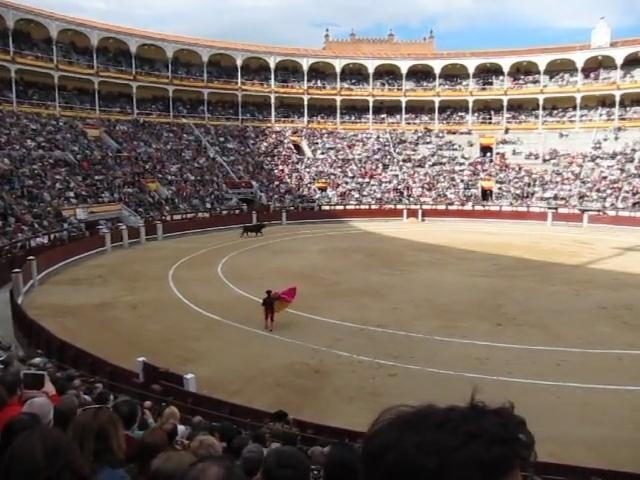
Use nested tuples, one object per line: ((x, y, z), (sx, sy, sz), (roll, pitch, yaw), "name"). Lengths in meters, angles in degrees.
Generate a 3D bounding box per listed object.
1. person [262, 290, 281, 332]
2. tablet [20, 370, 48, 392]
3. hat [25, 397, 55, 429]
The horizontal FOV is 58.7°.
((-1.409, 1.904, 16.058), (0.453, 1.115, 1.155), (-1, 8, -5), "person")
((-3.989, 1.956, 7.930), (0.310, 0.216, 0.386), (-3, 8, -23), "tablet")
((-3.158, 1.939, 6.382), (0.276, 0.275, 0.398), (-4, 9, -28), "hat")
